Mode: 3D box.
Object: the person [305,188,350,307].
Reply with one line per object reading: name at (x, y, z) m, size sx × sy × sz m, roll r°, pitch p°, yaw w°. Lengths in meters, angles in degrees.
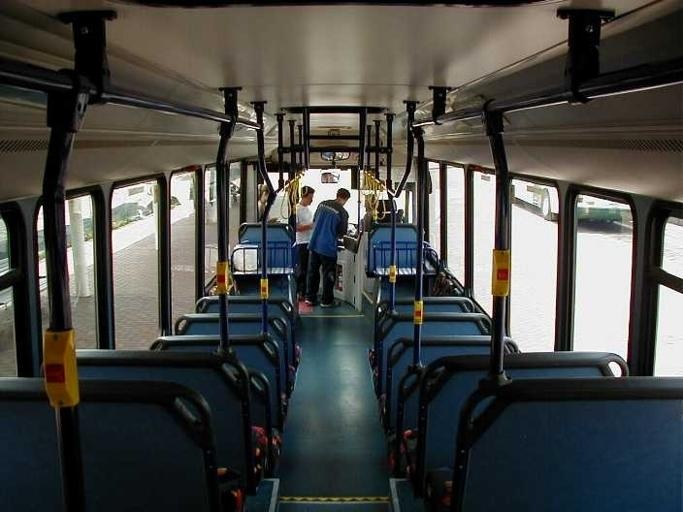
person at (-0.293, -0.119, 10.163) m, size 0.733 × 2.281 × 0.577 m, roll 5°, pitch 9°, yaw 17°
